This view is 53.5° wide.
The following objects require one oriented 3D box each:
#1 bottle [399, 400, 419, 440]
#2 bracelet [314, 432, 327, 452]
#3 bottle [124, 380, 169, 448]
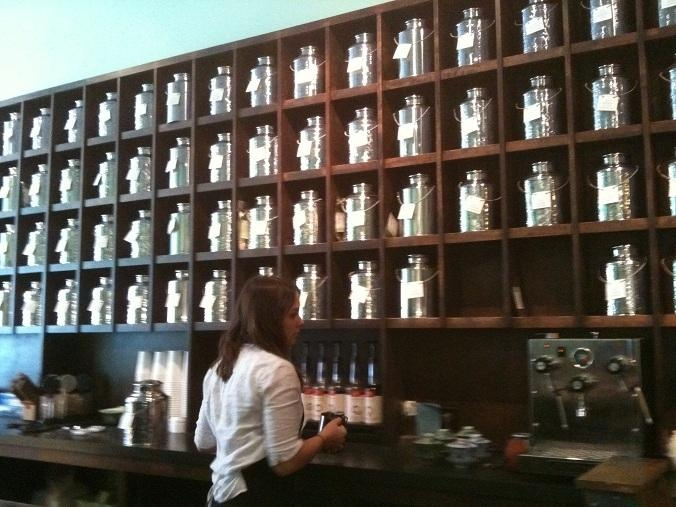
[{"bbox_3d":[0.379,0.891,3.606,0.102,0.192,0.154,-3,-12,4],"label":"bottle"},{"bbox_3d":[-0.069,0.755,2.692,0.073,0.057,0.067,0,-10,-16],"label":"bracelet"},{"bbox_3d":[-1.073,0.905,3.811,0.319,0.300,0.252,3,-11,-32],"label":"bottle"}]
